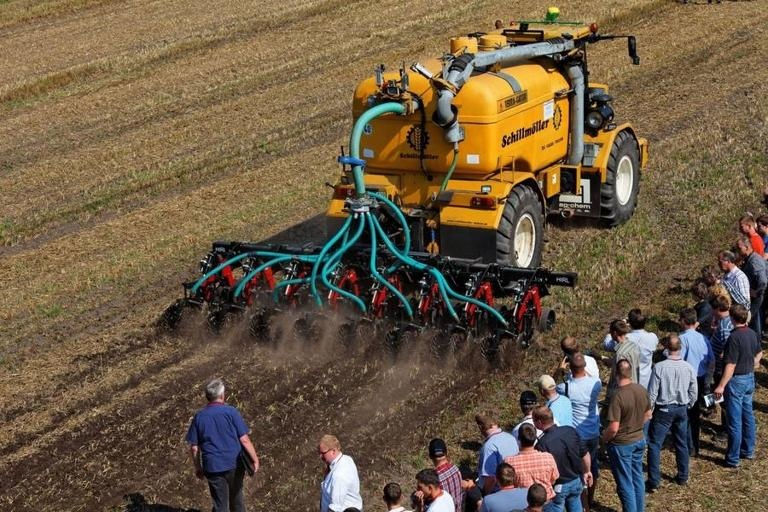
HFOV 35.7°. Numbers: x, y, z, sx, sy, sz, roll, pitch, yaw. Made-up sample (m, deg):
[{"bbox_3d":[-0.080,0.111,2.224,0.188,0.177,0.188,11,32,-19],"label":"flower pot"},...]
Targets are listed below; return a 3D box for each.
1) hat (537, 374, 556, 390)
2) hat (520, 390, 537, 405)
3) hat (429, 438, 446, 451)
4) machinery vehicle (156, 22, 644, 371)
[{"bbox_3d":[2.835,2.158,20.452,0.298,0.189,0.224,-7,19,-11],"label":"hat"},{"bbox_3d":[2.520,2.445,20.611,0.269,0.291,0.465,-1,19,5],"label":"hat"},{"bbox_3d":[0.916,3.169,20.003,0.303,0.215,0.481,2,-1,3],"label":"hat"},{"bbox_3d":[1.939,-1.663,25.915,6.204,4.601,9.651,16,37,30],"label":"machinery vehicle"}]
